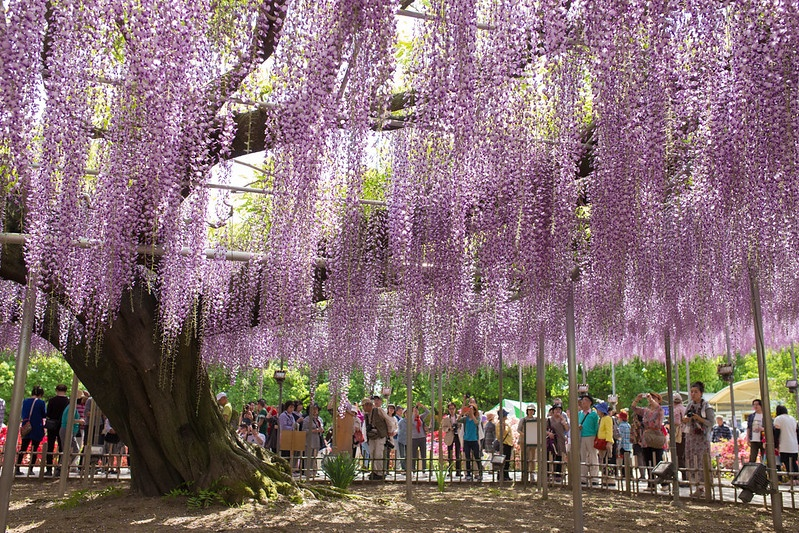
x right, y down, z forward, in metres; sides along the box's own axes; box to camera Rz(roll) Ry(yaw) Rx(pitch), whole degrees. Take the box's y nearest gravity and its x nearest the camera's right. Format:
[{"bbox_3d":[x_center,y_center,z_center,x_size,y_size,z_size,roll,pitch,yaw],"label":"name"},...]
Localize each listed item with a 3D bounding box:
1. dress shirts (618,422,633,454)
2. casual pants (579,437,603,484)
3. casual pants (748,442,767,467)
[{"bbox_3d":[3.327,2.510,10.826,0.169,0.435,0.547,-5,-11,14],"label":"dress shirts"},{"bbox_3d":[2.699,2.755,10.412,0.264,0.665,1.122,-5,-12,14],"label":"casual pants"},{"bbox_3d":[5.191,2.678,10.594,0.173,0.322,1.464,-8,-13,25],"label":"casual pants"}]
